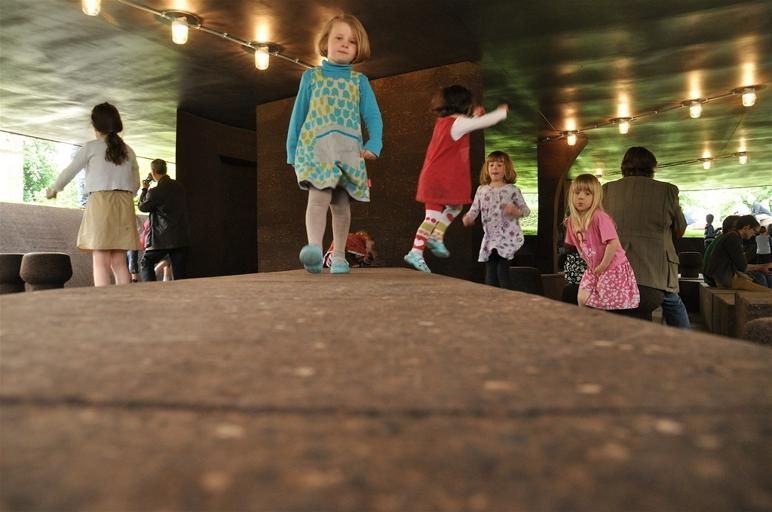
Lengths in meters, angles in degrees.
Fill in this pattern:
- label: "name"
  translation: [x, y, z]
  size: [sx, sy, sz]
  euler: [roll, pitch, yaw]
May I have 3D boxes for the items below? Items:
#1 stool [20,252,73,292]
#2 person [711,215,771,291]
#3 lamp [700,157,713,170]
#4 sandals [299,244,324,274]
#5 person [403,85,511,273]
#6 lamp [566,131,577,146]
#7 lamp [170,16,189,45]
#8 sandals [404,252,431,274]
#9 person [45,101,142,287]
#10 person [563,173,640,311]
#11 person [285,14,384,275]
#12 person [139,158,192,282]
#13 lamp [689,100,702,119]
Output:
- label: "stool"
  translation: [-2.569, 0.114, 3.884]
  size: [0.349, 0.275, 0.331]
  euler: [3, -5, -23]
- label: "person"
  translation: [4.707, -0.077, 6.879]
  size: [0.732, 0.936, 2.372]
  euler: [0, 2, 32]
- label: "lamp"
  translation: [8.312, -2.375, 13.361]
  size: [0.315, 0.293, 0.345]
  euler: [8, 11, -3]
- label: "sandals"
  translation: [-0.354, 0.019, 2.381]
  size: [0.065, 0.070, 0.171]
  euler: [1, -33, -3]
- label: "person"
  translation: [0.460, -0.597, 3.788]
  size: [0.650, 1.368, 0.722]
  euler: [-1, 2, 1]
- label: "lamp"
  translation: [3.512, -2.206, 9.781]
  size: [0.199, 0.178, 0.309]
  euler: [1, -1, 17]
- label: "lamp"
  translation: [-1.913, -2.079, 4.803]
  size: [0.142, 0.188, 0.201]
  euler: [-2, 2, -17]
- label: "sandals"
  translation: [0.217, 0.039, 3.602]
  size: [0.215, 0.098, 0.105]
  euler: [29, 4, 15]
- label: "person"
  translation: [-2.172, -0.480, 3.896]
  size: [0.608, 1.395, 0.413]
  euler: [-2, 2, -31]
- label: "person"
  translation: [1.358, -0.088, 3.313]
  size: [0.433, 0.861, 0.310]
  euler: [0, 2, 32]
- label: "person"
  translation: [-0.294, -0.624, 2.714]
  size: [0.478, 1.409, 0.850]
  euler: [-1, 2, 6]
- label: "person"
  translation: [-2.418, -0.386, 5.555]
  size: [0.518, 1.286, 0.482]
  euler: [-1, 2, -9]
- label: "lamp"
  translation: [4.799, -2.271, 8.026]
  size: [0.183, 0.232, 0.177]
  euler: [0, -5, 3]
